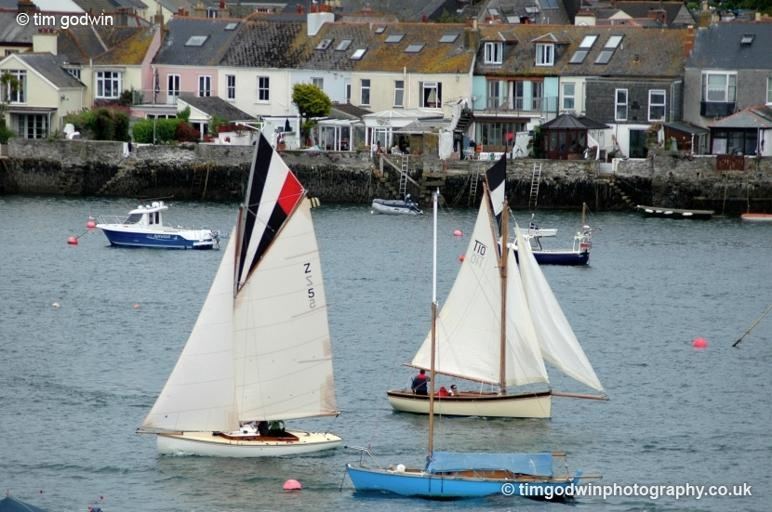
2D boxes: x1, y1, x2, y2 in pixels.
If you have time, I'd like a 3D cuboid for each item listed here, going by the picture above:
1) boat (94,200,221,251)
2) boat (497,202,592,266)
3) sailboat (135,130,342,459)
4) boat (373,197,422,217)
[{"bbox_3d":[-15.742,-2.095,137.208,8.439,3.470,2.874,2,5,0],"label":"boat"},{"bbox_3d":[10.649,-1.464,133.121,6.525,4.208,1.874,1,1,-2],"label":"boat"},{"bbox_3d":[-7.067,2.551,103.764,11.065,16.570,3.797,-1,8,-11],"label":"sailboat"},{"bbox_3d":[0.786,-3.703,148.789,3.118,1.304,1.585,2,7,-3],"label":"boat"}]
